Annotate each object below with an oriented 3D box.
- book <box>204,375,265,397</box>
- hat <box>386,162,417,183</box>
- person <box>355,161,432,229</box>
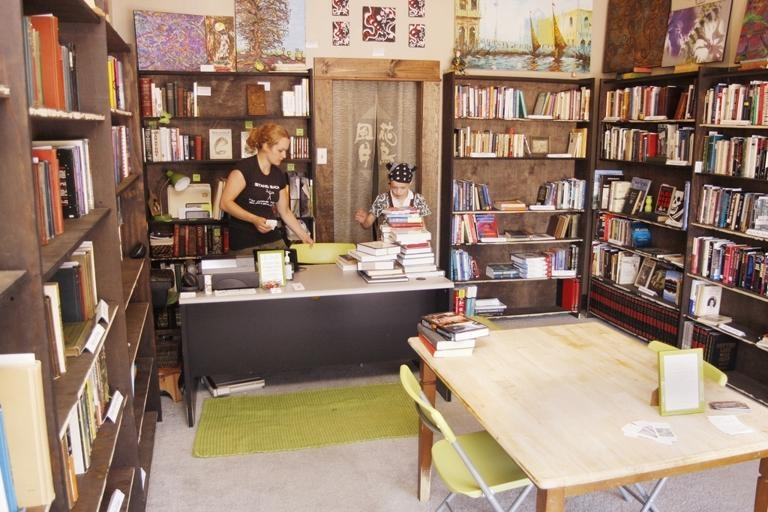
[{"bbox_3d":[-1.315,1.168,5.018,0.271,0.056,0.234,-3,7,-31],"label":"book"},{"bbox_3d":[0.173,-0.865,5.990,0.274,0.245,0.350,-3,15,-24],"label":"hat"},{"bbox_3d":[0.098,-0.497,5.968,0.899,0.881,0.654,-3,24,-12],"label":"person"}]
